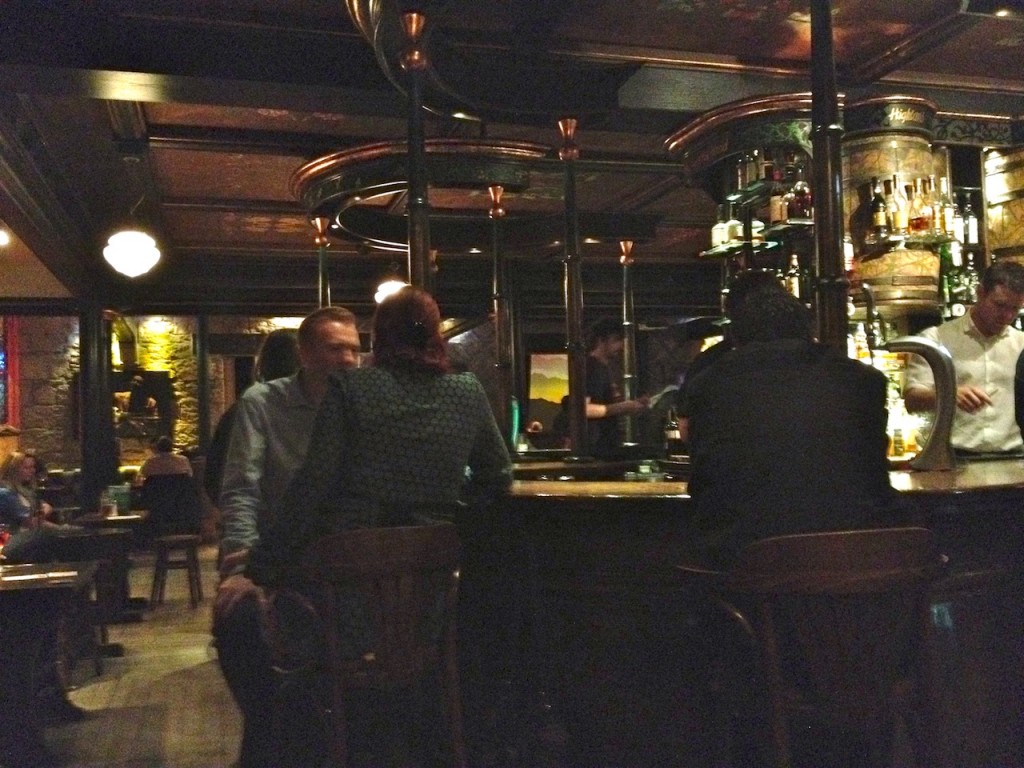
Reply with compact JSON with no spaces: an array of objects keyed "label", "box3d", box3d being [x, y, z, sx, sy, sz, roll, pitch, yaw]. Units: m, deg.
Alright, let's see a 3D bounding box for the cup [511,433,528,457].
[{"label":"cup","box3d":[0.072,0.440,7.495,0.128,0.123,0.127,0,4,0]}]
